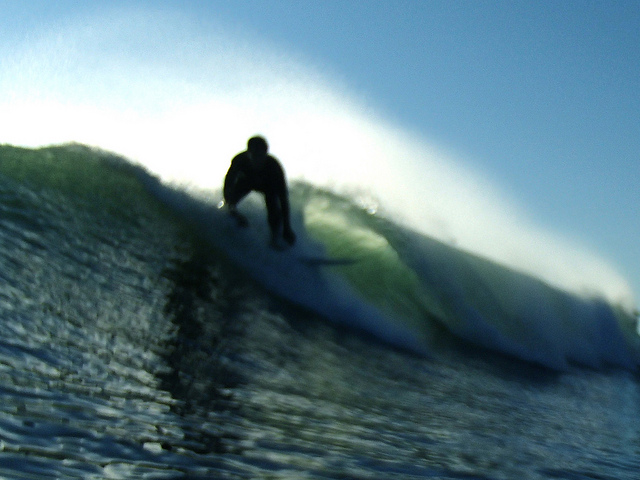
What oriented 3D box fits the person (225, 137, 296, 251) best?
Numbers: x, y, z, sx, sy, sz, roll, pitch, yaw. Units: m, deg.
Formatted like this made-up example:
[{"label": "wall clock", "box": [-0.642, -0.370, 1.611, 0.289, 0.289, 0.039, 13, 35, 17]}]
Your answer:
[{"label": "person", "box": [-0.589, -0.355, 6.566, 0.697, 0.783, 1.211, -1, -60, 0]}]
